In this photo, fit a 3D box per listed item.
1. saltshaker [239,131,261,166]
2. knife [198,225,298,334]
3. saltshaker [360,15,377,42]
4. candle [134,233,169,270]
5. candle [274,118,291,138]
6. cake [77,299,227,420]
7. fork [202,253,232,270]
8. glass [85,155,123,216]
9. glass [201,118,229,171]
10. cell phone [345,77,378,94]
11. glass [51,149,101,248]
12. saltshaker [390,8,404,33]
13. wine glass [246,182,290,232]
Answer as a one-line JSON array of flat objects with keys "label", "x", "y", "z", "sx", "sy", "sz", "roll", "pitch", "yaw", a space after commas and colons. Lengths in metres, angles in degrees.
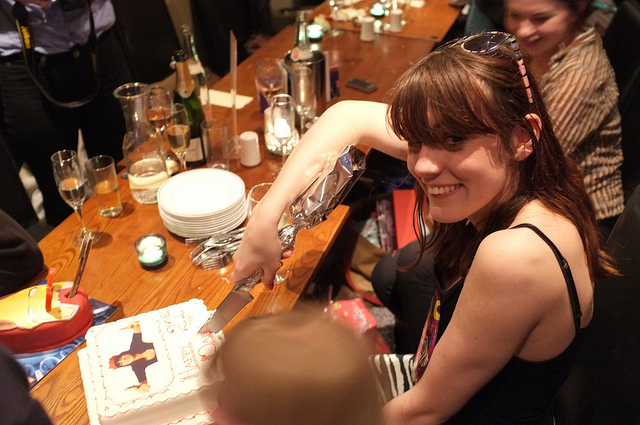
[{"label": "saltshaker", "x": -0.310, "y": -0.283, "z": 2.240, "sx": 0.100, "sy": 0.147, "sz": 0.104, "roll": -5, "pitch": 8, "yaw": 1}, {"label": "knife", "x": -0.233, "y": 0.222, "z": 1.595, "sx": 0.049, "sy": 0.079, "sz": 0.446, "roll": 0, "pitch": 46, "yaw": 53}, {"label": "saltshaker", "x": 0.309, "y": -1.262, "z": 3.393, "sx": 0.152, "sy": 0.173, "sz": 0.160, "roll": -1, "pitch": 35, "yaw": 0}, {"label": "candle", "x": -0.613, "y": 0.141, "z": 1.817, "sx": 0.114, "sy": 0.092, "sz": 0.126, "roll": -1, "pitch": 38, "yaw": -3}, {"label": "candle", "x": -0.169, "y": -0.374, "z": 2.186, "sx": 0.071, "sy": 0.071, "sz": 0.073, "roll": -4, "pitch": 15, "yaw": -4}, {"label": "cake", "x": -0.517, "y": 0.482, "z": 1.518, "sx": 0.445, "sy": 0.091, "sz": 0.413, "roll": -13, "pitch": 40, "yaw": -13}, {"label": "fork", "x": -0.384, "y": 0.182, "z": 1.809, "sx": 0.075, "sy": 0.018, "sz": 0.052, "roll": -13, "pitch": 13, "yaw": -25}, {"label": "glass", "x": -0.851, "y": -0.102, "z": 1.951, "sx": 0.139, "sy": 0.238, "sz": 0.120, "roll": -13, "pitch": 36, "yaw": -37}, {"label": "glass", "x": -0.457, "y": -0.296, "z": 2.223, "sx": 0.104, "sy": 0.235, "sz": 0.130, "roll": -10, "pitch": 33, "yaw": -21}, {"label": "cell phone", "x": 0.230, "y": -0.716, "z": 2.796, "sx": 0.167, "sy": 0.022, "sz": 0.093, "roll": 19, "pitch": 40, "yaw": 36}, {"label": "glass", "x": -0.947, "y": -0.014, "z": 1.909, "sx": 0.150, "sy": 0.396, "sz": 0.163, "roll": -24, "pitch": 39, "yaw": -38}, {"label": "saltshaker", "x": 0.535, "y": -1.364, "z": 3.481, "sx": 0.090, "sy": 0.136, "sz": 0.152, "roll": 3, "pitch": 38, "yaw": 7}, {"label": "wine glass", "x": -0.193, "y": -0.005, "z": 1.877, "sx": 0.170, "sy": 0.171, "sz": 0.177, "roll": -1, "pitch": 34, "yaw": 0}]
